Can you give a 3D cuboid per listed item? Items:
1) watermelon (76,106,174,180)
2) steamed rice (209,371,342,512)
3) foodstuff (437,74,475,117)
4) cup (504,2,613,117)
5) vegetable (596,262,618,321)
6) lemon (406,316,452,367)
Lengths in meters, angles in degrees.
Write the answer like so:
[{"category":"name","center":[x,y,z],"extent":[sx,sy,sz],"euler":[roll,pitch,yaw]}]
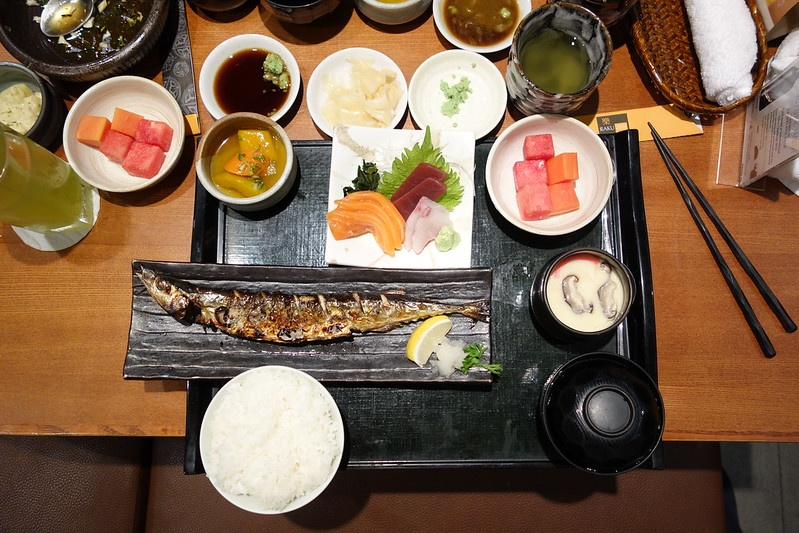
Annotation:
[{"category":"watermelon","center":[-1.457,-0.683,3.356],"extent":[0.469,0.157,0.329],"euler":[11,90,-4]},{"category":"steamed rice","center":[-0.633,0.869,3.071],"extent":[0.696,0.310,0.688],"euler":[-19,70,-11]},{"category":"foodstuff","center":[0.312,-0.938,3.369],"extent":[0.201,0.056,0.207],"euler":[-22,90,-7]},{"category":"cup","center":[0.846,-1.063,3.353],"extent":[0.532,0.433,0.600],"euler":[-11,101,8]},{"category":"vegetable","center":[1.063,0.131,3.175],"extent":[0.080,0.100,0.279],"euler":[-1,78,1]},{"category":"lemon","center":[0.147,0.369,3.146],"extent":[0.143,0.119,0.272],"euler":[36,70,11]}]
